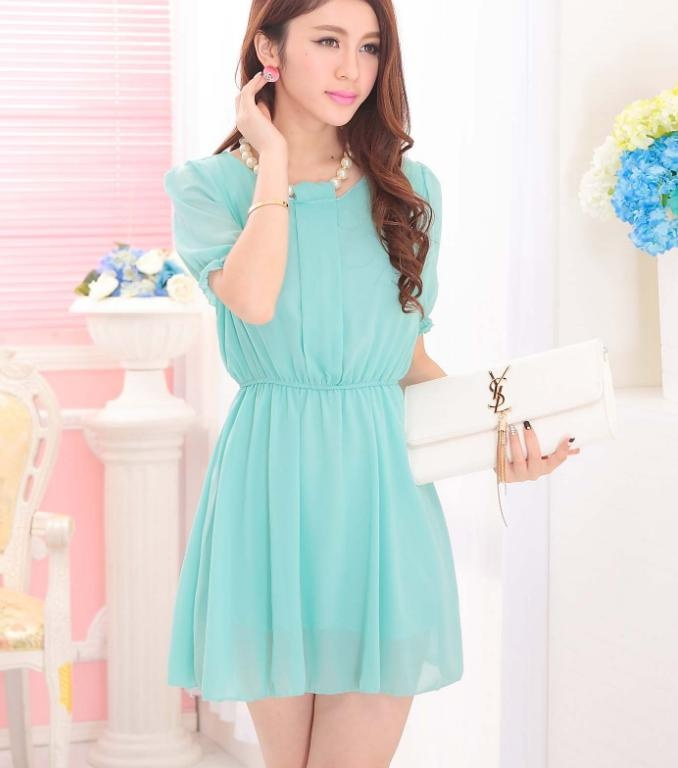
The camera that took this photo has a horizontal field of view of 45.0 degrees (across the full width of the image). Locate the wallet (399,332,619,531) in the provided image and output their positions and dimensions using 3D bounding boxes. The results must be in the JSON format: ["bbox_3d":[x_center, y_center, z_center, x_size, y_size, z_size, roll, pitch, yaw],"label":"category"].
[{"bbox_3d":[0.244,0.029,1.183,0.293,0.163,0.063,-12,20,4],"label":"wallet"}]

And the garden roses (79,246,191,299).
[{"bbox_3d":[-0.599,-0.320,2.422,0.228,0.092,0.218,7,11,41],"label":"garden roses"}]

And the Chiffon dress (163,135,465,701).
[{"bbox_3d":[-0.051,0.043,1.223,0.462,0.694,0.236,-5,-1,5],"label":"Chiffon dress"}]
